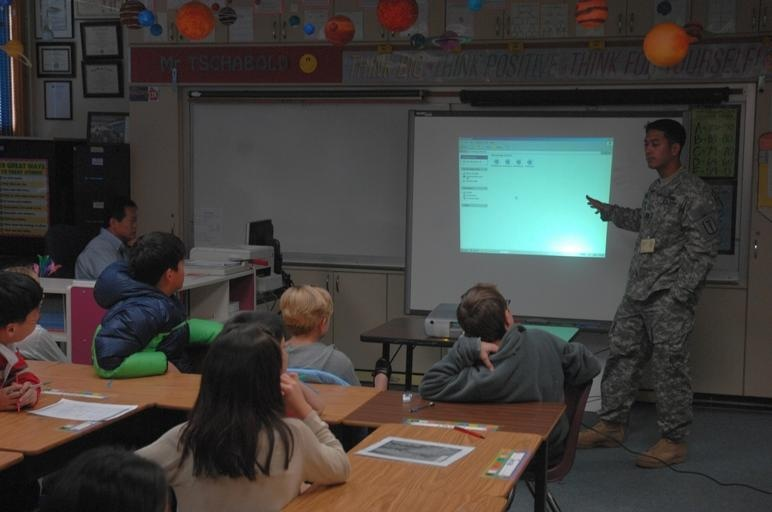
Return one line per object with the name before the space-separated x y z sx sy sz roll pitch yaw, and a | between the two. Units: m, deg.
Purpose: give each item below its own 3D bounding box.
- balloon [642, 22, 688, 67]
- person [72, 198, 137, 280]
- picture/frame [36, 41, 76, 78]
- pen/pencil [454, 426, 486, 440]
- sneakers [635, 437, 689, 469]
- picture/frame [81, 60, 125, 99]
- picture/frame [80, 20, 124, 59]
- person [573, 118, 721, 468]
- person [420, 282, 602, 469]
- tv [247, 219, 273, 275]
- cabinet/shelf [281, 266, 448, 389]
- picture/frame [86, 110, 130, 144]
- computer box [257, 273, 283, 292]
balloon | 2.032 -1.532 4.641 0.240 0.297 0.194 -2 11 -13
person | -2.349 -0.134 5.336 0.458 0.750 0.548 7 12 -20
picture/frame | -3.600 -2.150 7.003 0.389 0.344 0.027 1 6 4
pen/pencil | 0.376 0.795 2.881 0.119 0.014 0.016 7 6 37
sneakers | 1.984 1.403 4.615 0.368 0.234 0.174 1 -1 -2
picture/frame | -3.056 -1.913 6.938 0.408 0.348 0.035 0 5 5
picture/frame | -3.046 -2.298 6.861 0.494 0.386 0.022 2 11 8
person | 1.974 0.249 4.688 0.687 2.438 0.690 10 14 39
person | 0.675 0.771 3.534 0.872 1.231 0.658 -8 25 4
tv | -1.127 -0.061 5.672 0.144 0.446 0.456 -1 3 16
cabinet/shelf | -0.086 0.534 4.861 1.118 1.052 0.433 0 1 10
picture/frame | -3.032 -1.394 6.952 0.470 0.307 0.125 4 11 15
computer box | -1.029 0.238 5.668 0.094 0.157 0.336 7 12 28
